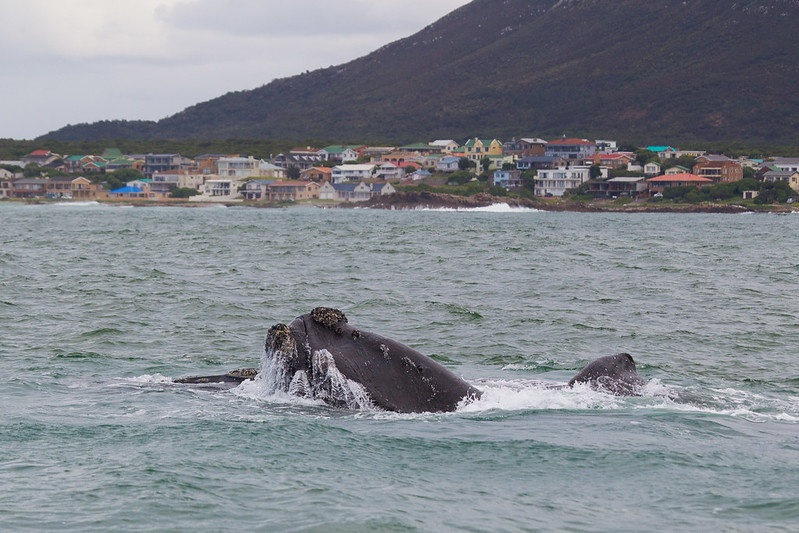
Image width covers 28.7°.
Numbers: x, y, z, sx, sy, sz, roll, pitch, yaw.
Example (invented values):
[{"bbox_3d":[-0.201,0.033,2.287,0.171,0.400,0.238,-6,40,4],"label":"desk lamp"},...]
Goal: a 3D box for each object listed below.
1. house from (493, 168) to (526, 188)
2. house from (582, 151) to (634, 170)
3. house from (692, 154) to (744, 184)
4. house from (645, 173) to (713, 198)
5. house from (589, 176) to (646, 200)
[{"bbox_3d":[32.171,-25.958,469.156,8.320,3.484,6.706,2,8,11],"label":"house"},{"bbox_3d":[63.505,-32.017,471.269,13.996,4.418,22.283,2,5,7],"label":"house"},{"bbox_3d":[93.926,-27.653,451.519,12.536,5.579,10.860,5,9,35],"label":"house"},{"bbox_3d":[78.594,-22.974,442.266,16.710,6.404,11.435,2,6,7],"label":"house"},{"bbox_3d":[62.792,-22.366,446.162,14.700,6.102,4.737,2,7,9],"label":"house"}]
